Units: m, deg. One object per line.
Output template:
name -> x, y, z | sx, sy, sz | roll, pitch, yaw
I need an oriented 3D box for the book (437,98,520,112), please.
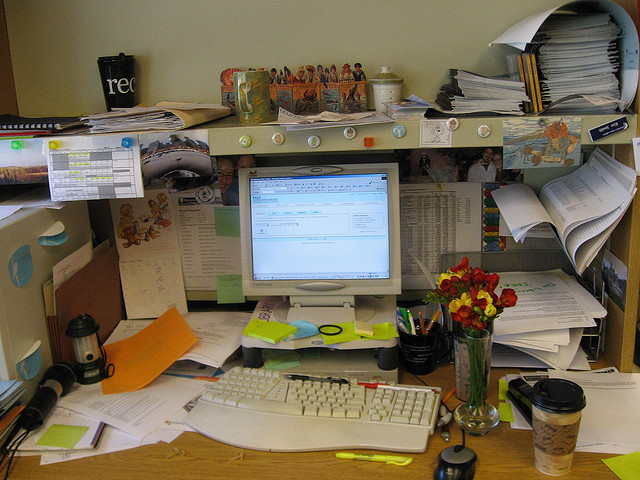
book -> 0.405, -0.347, 1.284 | 0.192, 0.037, 0.089 | 2, 17, 20

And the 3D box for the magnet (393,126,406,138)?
magnet -> 0.198, -0.268, 1.231 | 0.031, 0.028, 0.007 | -3, 16, 3

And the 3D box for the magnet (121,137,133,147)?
magnet -> -0.491, -0.251, 1.271 | 0.024, 0.022, 0.006 | 3, 6, -5

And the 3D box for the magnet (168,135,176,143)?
magnet -> -0.375, -0.258, 1.266 | 0.016, 0.012, 0.017 | 2, 18, 0

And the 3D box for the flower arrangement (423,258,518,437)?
flower arrangement -> 0.365, 0.240, 1.193 | 0.188, 0.365, 0.229 | -3, 16, 6

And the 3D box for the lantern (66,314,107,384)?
lantern -> -0.627, 0.293, 1.344 | 0.079, 0.181, 0.058 | -10, 17, -18

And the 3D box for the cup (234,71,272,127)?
cup -> -0.183, -0.378, 1.324 | 0.099, 0.131, 0.146 | 2, 29, 3

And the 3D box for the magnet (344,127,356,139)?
magnet -> 0.076, -0.266, 1.236 | 0.025, 0.023, 0.006 | 10, 19, 5

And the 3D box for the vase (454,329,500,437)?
vase -> 0.358, 0.356, 1.198 | 0.142, 0.251, 0.127 | 5, -10, 3

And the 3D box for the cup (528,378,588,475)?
cup -> 0.501, 0.391, 1.057 | 0.117, 0.172, 0.091 | -19, 21, -41

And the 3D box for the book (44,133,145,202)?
book -> -0.580, -0.197, 1.291 | 0.182, 0.118, 0.019 | -2, 9, 4

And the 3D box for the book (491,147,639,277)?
book -> 0.674, -0.110, 1.347 | 0.351, 0.130, 0.343 | -20, 20, 17

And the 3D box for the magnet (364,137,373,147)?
magnet -> 0.120, -0.245, 1.241 | 0.023, 0.020, 0.005 | 3, 7, 4

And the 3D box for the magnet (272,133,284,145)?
magnet -> -0.104, -0.255, 1.249 | 0.028, 0.027, 0.009 | -1, 17, 13

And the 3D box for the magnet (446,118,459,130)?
magnet -> 0.325, -0.283, 1.216 | 0.030, 0.026, 0.009 | -1, 17, 12

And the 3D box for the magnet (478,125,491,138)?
magnet -> 0.403, -0.266, 1.212 | 0.027, 0.026, 0.007 | 14, 6, 8

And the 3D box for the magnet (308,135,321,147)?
magnet -> -0.014, -0.249, 1.245 | 0.027, 0.025, 0.006 | 7, 12, 5

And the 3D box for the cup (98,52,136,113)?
cup -> -0.584, -0.469, 1.470 | 0.108, 0.162, 0.150 | -10, 17, -19

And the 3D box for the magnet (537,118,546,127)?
magnet -> 0.538, -0.286, 1.207 | 0.019, 0.017, 0.017 | -8, 16, 11

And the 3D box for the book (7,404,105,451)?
book -> -0.615, 0.452, 1.190 | 0.197, 0.038, 0.115 | -4, 16, 1

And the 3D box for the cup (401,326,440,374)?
cup -> 0.284, 0.298, 1.362 | 0.127, 0.104, 0.106 | -1, 2, 2

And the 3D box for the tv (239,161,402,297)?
tv -> 0.012, -0.042, 1.388 | 0.407, 0.312, 0.034 | -1, 2, 0

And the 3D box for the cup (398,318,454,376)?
cup -> 0.295, 0.299, 1.358 | 0.162, 0.110, 0.104 | -5, 2, 5
